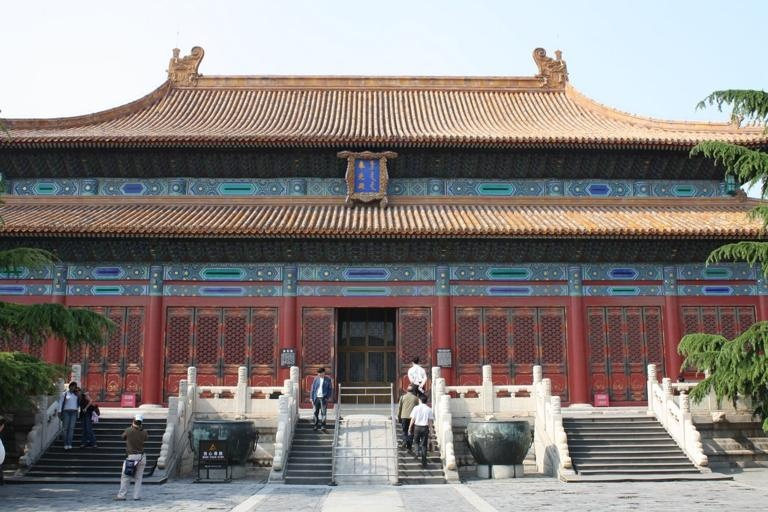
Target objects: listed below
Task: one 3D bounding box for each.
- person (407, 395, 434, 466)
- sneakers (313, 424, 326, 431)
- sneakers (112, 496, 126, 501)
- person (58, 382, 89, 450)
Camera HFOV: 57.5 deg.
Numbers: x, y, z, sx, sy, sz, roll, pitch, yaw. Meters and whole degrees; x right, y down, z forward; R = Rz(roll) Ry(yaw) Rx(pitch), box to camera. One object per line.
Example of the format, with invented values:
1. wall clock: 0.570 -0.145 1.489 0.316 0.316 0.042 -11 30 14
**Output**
1. person: 1.097 5.282 20.734 0.562 1.815 0.985 0 -15 -8
2. sneakers: -2.008 5.408 22.257 0.223 0.157 0.524 3 -5 1
3. sneakers: -6.707 6.126 17.799 0.332 0.109 0.217 -1 -14 -5
4. person: -9.694 4.898 21.609 0.608 2.011 0.887 4 -16 -24
